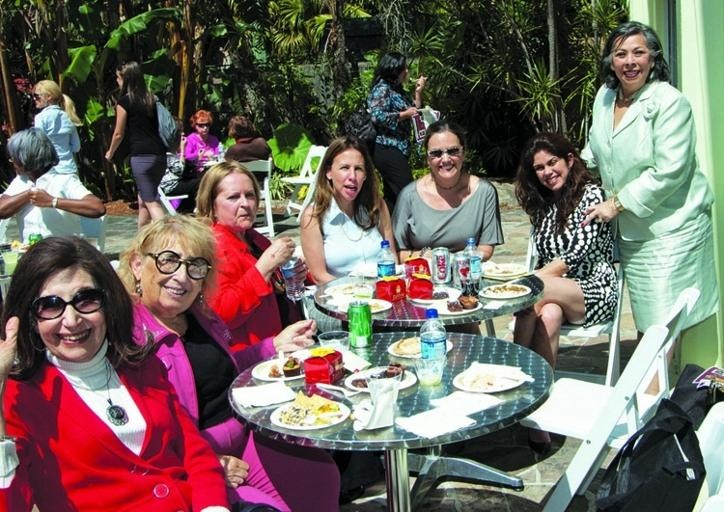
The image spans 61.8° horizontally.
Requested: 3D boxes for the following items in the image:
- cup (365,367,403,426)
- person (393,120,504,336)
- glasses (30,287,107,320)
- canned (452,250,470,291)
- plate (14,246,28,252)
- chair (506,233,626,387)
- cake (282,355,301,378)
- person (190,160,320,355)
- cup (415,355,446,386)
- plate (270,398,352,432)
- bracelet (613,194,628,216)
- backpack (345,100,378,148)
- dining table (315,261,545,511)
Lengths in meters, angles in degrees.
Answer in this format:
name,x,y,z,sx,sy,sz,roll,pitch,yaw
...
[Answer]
name,x,y,z,sx,sy,sz,roll,pitch,yaw
cup,0.099,0.667,2.870,0.180,0.269,0.162,5,5,13
person,0.774,-0.178,5.266,0.951,1.870,0.938,-4,22,4
glasses,-1.252,0.209,2.568,0.277,0.110,0.055,-12,13,-25
canned,0.735,0.112,4.447,0.147,0.271,0.149,-17,24,-30
plate,-2.889,-0.058,5.094,0.076,0.027,0.079,2,10,-2
chair,1.816,0.507,5.082,1.066,1.296,1.003,7,-8,-19
cake,-0.383,0.604,3.284,0.088,0.064,0.092,-2,22,-1
person,-0.764,0.214,4.385,0.747,1.720,0.790,-3,23,13
cup,0.355,0.595,3.119,0.130,0.117,0.138,-1,-7,0
plate,-0.256,0.742,2.856,0.365,0.100,0.221,-3,12,19
bracelet,2.005,-0.396,4.705,0.043,0.114,0.114,-26,22,0
backpack,-0.114,-1.814,8.228,0.456,0.482,0.257,17,31,33
dining table,0.443,0.911,3.451,1.374,1.091,1.398,-3,9,-1
